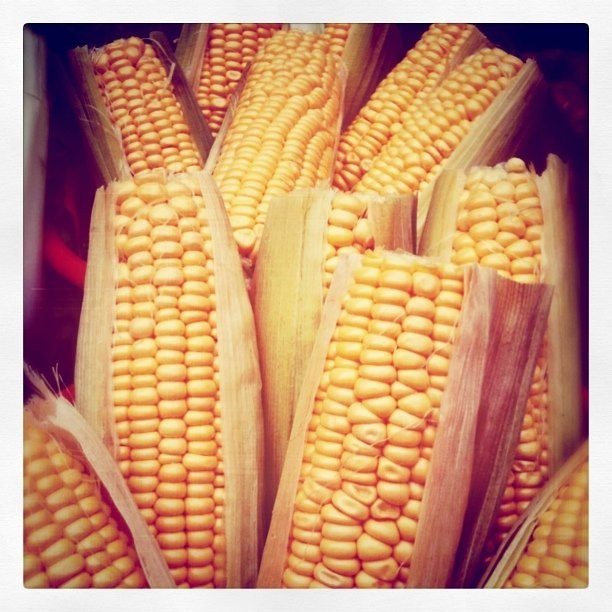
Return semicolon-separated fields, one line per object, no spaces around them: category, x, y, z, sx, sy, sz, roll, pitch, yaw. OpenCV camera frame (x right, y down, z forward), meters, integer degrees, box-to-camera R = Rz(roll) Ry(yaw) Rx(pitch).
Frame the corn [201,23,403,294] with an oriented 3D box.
corn;-0.016;-0.410;1.546;0.209;0.784;0.235;11;-23;36

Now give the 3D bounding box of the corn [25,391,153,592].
corn;-0.477;0.388;1.452;0.179;0.383;0.146;-21;1;-8

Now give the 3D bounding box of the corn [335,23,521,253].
corn;0.319;-0.427;1.645;0.263;0.675;0.245;20;-42;-6

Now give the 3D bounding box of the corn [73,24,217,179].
corn;-0.302;-0.464;1.617;0.321;0.185;0.522;-7;-13;-2

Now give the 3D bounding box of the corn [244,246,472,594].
corn;0.122;0.211;1.375;0.250;0.798;0.235;9;-4;34

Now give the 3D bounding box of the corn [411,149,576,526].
corn;0.424;0.001;1.524;0.247;0.871;0.260;1;-2;5
